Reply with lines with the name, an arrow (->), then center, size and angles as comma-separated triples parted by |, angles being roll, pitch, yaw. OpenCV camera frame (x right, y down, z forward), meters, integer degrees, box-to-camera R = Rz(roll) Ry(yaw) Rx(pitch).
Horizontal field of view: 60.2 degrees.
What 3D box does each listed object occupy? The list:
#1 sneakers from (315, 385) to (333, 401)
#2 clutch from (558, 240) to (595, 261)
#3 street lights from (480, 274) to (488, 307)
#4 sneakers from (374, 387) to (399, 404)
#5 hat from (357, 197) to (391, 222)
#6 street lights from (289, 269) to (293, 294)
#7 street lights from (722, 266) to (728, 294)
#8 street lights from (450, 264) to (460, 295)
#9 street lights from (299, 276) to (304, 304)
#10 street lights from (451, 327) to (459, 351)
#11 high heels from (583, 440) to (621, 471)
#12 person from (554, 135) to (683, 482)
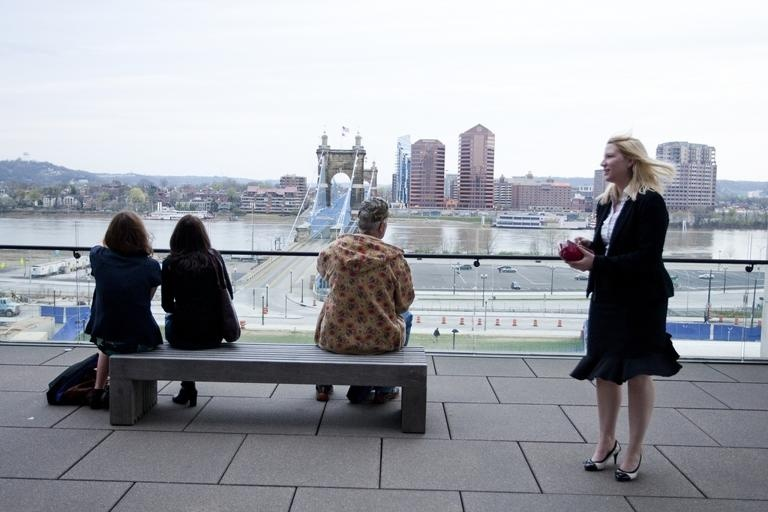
sneakers -> -0.477, 1.083, 5.218 | 0.081, 0.090, 0.225 | 1, -7, -3
clutch -> 1.222, -0.028, 4.259 | 0.187, 0.126, 0.093 | 2, 9, 12
street lights -> 0.931, 0.322, 6.186 | 0.063, 0.302, 0.069 | 1, 9, 7
sneakers -> 0.023, 1.100, 5.218 | 0.090, 0.093, 0.243 | -2, -7, 29
hat -> -0.064, -0.343, 4.858 | 0.170, 0.179, 0.201 | 5, 15, 12
street lights -> -0.873, 0.243, 6.231 | 0.030, 0.215, 0.051 | -2, 9, -12
street lights -> 3.128, 0.220, 6.092 | 0.040, 0.226, 0.097 | 4, 10, 26
street lights -> 0.661, 0.219, 6.155 | 0.070, 0.243, 0.117 | 1, 9, 5
street lights -> -0.767, 0.319, 6.194 | 0.038, 0.224, 0.083 | -2, 9, -11
street lights -> 0.656, 0.765, 6.144 | 0.062, 0.186, 0.010 | 1, 9, 5
high heels -> 1.460, 1.361, 4.467 | 0.353, 0.158, 0.116 | 4, -9, -26
person -> 1.583, 0.333, 4.343 | 0.691, 2.204, 0.462 | 4, 10, 22
